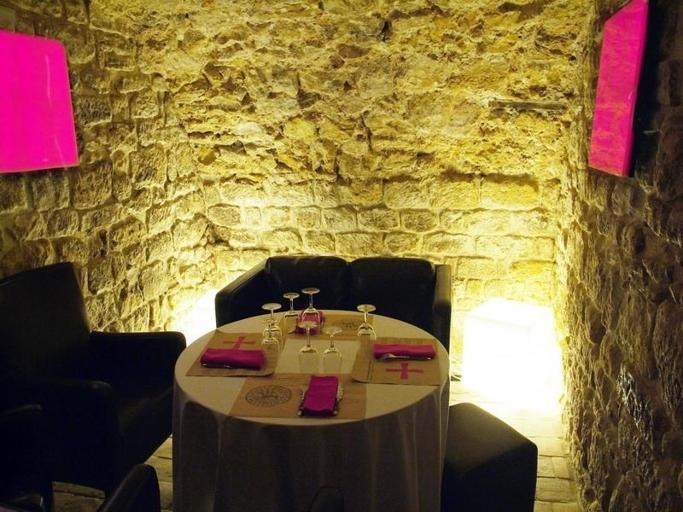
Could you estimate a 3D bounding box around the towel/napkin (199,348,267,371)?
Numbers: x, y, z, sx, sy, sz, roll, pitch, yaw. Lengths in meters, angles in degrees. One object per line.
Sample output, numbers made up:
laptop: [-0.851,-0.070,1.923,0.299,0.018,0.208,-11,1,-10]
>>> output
towel/napkin: [-0.482,0.448,2.294,0.165,0.050,0.125,1,2,3]

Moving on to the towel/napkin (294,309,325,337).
towel/napkin: [-0.158,0.327,2.619,0.121,0.113,0.117,-4,3,-42]

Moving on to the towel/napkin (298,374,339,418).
towel/napkin: [-0.084,0.548,2.078,0.133,0.047,0.239,-1,18,8]

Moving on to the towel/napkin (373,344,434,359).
towel/napkin: [0.277,0.421,2.335,0.167,0.040,0.104,1,8,2]
